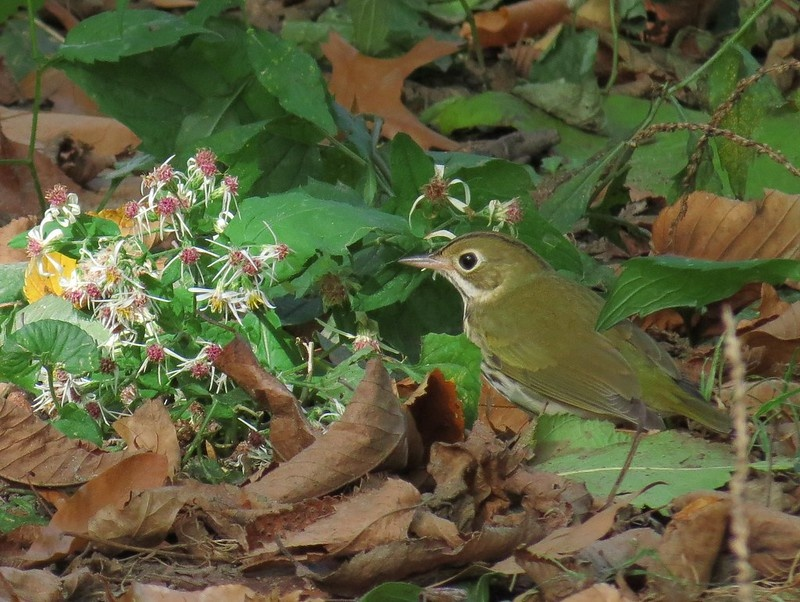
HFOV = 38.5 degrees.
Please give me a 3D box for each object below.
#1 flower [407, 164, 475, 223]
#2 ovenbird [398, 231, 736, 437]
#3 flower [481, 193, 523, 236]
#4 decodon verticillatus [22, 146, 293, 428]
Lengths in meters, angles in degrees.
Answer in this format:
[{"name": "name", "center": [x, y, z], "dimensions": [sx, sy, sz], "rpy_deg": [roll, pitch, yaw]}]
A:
[{"name": "flower", "center": [0.207, -0.511, 5.257], "dimensions": [0.320, 0.271, 0.316], "rpy_deg": [6, 21, 10]}, {"name": "ovenbird", "center": [0.805, 0.167, 5.348], "dimensions": [0.926, 1.030, 1.351], "rpy_deg": [-1, 3, 38]}, {"name": "flower", "center": [0.505, -0.406, 5.292], "dimensions": [0.238, 0.144, 0.155], "rpy_deg": [-3, 53, 17]}, {"name": "decodon verticillatus", "center": [-1.004, -0.145, 5.305], "dimensions": [1.279, 1.216, 1.090], "rpy_deg": [-6, 16, -17]}]
